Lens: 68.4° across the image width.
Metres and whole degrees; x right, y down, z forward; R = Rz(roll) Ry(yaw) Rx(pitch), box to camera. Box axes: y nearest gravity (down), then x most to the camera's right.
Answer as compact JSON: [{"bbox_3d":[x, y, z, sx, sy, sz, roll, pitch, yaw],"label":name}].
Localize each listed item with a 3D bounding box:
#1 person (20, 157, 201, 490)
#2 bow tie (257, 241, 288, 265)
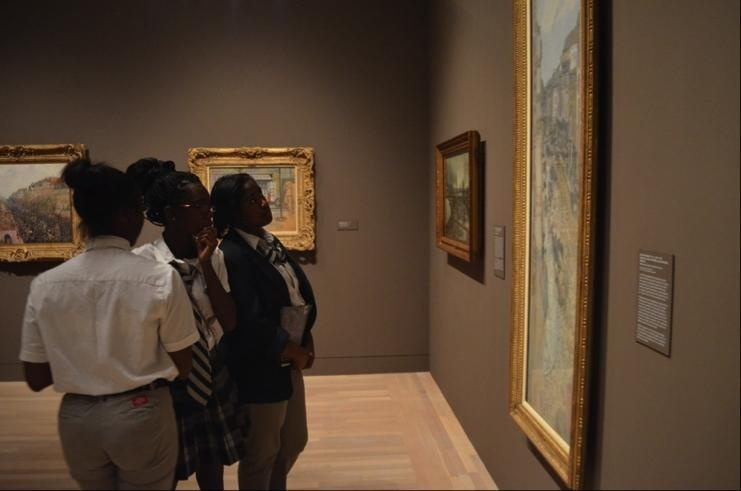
[{"bbox_3d":[-1.239,0.384,2.555,0.775,1.559,0.254,2,8,3],"label":"person"},{"bbox_3d":[-0.587,0.037,3.269,0.150,0.060,0.109,34,27,-17],"label":"bow tie"}]
